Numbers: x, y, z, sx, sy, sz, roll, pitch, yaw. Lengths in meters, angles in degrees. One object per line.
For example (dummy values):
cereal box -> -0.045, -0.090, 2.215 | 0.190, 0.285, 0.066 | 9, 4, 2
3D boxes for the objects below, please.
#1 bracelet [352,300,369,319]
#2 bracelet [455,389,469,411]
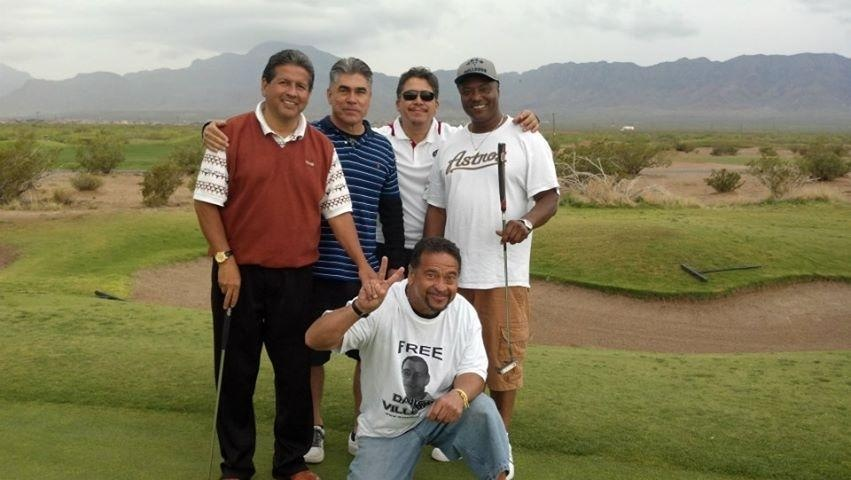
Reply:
bracelet -> -0.740, 0.765, 6.812 | 0.060, 0.202, 0.205 | -45, 7, -14
bracelet -> 0.383, 1.845, 6.887 | 0.082, 0.191, 0.187 | -28, -20, -19
